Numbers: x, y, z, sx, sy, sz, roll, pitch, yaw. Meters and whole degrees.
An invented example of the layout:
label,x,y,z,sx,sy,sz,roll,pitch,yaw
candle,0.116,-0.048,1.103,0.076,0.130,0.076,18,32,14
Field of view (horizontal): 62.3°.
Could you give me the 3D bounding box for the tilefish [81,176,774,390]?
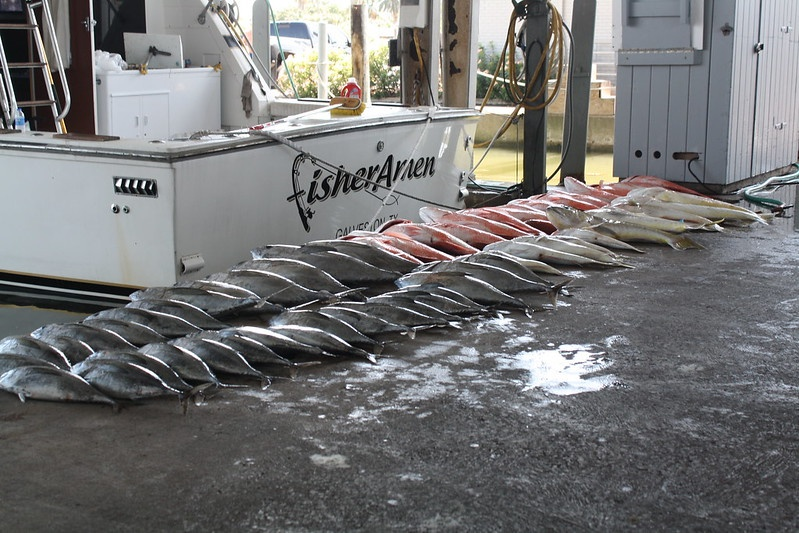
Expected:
label,x,y,z,sx,sy,sz,roll,pitch,yaw
tilefish,0.123,0.082,4.235,3.393,0.548,0.520,-13,53,-14
